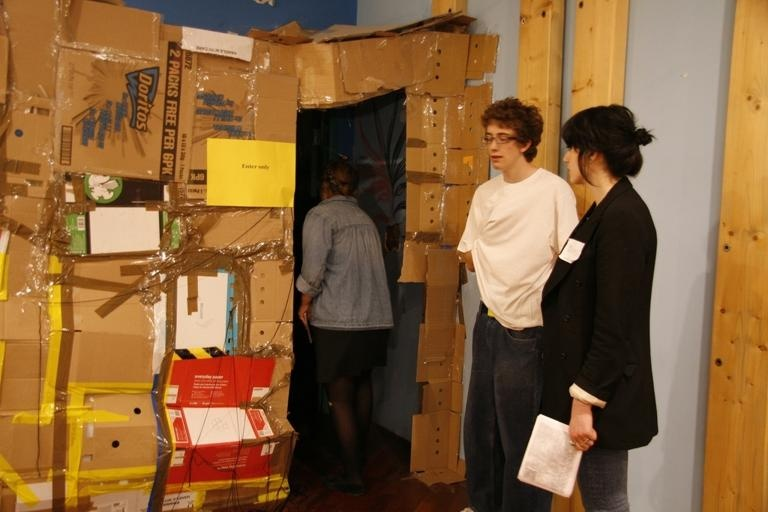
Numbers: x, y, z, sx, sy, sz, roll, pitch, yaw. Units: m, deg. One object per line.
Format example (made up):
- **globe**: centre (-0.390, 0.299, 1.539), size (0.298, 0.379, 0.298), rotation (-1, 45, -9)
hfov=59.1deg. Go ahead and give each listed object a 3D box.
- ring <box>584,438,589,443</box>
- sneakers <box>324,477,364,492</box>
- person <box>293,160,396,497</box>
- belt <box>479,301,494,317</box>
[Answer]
- **ring**: centre (0.758, 0.684, 2.528), size (0.016, 0.018, 0.003), rotation (-1, 2, 13)
- **sneakers**: centre (-0.221, 1.233, 3.728), size (0.206, 0.065, 0.077), rotation (13, 6, 9)
- **person**: centre (-0.225, 0.360, 3.787), size (0.531, 1.784, 0.314), rotation (-2, 2, -14)
- **belt**: centre (0.485, 0.249, 3.184), size (0.014, 0.060, 0.058), rotation (-8, 24, -35)
